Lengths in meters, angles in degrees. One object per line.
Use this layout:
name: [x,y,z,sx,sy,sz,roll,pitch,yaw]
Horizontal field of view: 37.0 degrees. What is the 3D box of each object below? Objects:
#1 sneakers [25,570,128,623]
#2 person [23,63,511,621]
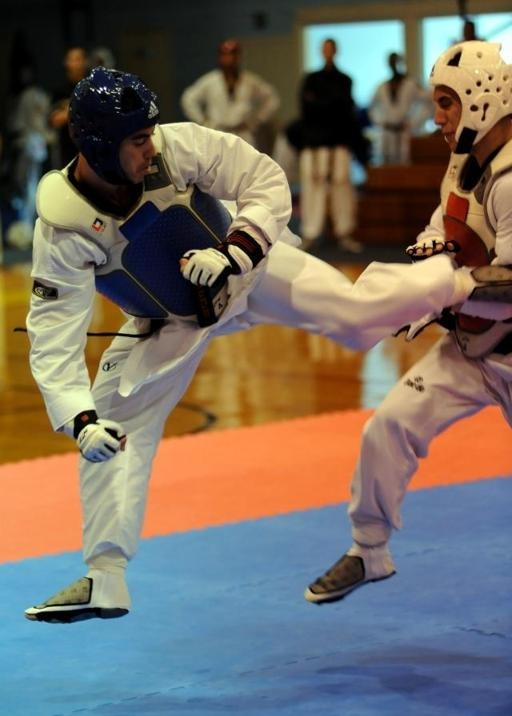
sneakers: [-0.334,0.499,1.580,0.279,0.098,0.081,0,-12,-2]
person: [-0.124,-0.043,1.730,0.908,1.136,0.484,-6,10,-16]
